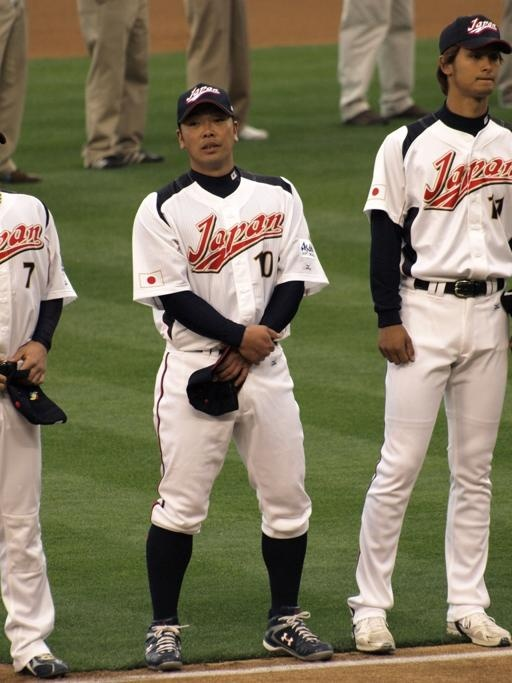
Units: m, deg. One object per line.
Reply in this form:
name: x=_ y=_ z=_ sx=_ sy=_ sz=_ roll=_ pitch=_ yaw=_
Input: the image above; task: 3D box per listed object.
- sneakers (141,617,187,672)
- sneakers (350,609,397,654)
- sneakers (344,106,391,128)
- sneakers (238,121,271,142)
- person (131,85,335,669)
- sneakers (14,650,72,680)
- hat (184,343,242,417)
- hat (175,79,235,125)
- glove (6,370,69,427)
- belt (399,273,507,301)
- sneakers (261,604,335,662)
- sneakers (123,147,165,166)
sneakers: x=-0.291 y=0.964 z=3.764 sx=0.113 sy=0.119 sz=0.152 roll=1 pitch=13 yaw=-6
sneakers: x=0.377 y=0.940 z=3.883 sx=0.177 sy=0.112 sz=0.143 roll=7 pitch=14 yaw=21
sneakers: x=1.144 y=-2.400 z=12.835 sx=0.186 sy=0.203 sz=0.530 roll=0 pitch=-2 yaw=-40
sneakers: x=-0.084 y=-2.164 z=12.348 sx=0.457 sy=0.184 sz=0.146 roll=-1 pitch=15 yaw=-10
person: x=-0.076 y=0.190 z=3.844 sx=0.640 sy=1.601 sz=0.642 roll=0 pitch=14 yaw=-7
sneakers: x=-0.650 y=0.997 z=3.694 sx=0.163 sy=0.069 sz=0.068 roll=-5 pitch=10 yaw=15
hat: x=-0.114 y=0.133 z=3.766 sx=0.195 sy=0.185 sz=0.088 roll=-34 pitch=8 yaw=-2
hat: x=-0.169 y=-0.769 z=3.843 sx=0.127 sy=0.092 sz=0.166 roll=-13 pitch=3 yaw=1
glove: x=-0.695 y=0.183 z=3.699 sx=0.044 sy=0.205 sz=0.124 roll=-29 pitch=19 yaw=31
belt: x=0.657 y=-0.186 z=3.902 sx=0.349 sy=0.064 sz=0.130 roll=2 pitch=13 yaw=-1
sneakers: x=0.125 y=0.942 z=3.838 sx=0.098 sy=0.119 sz=0.268 roll=0 pitch=0 yaw=-43
sneakers: x=-1.023 y=-1.752 z=11.176 sx=0.437 sy=0.176 sz=0.141 roll=-5 pitch=22 yaw=-7
